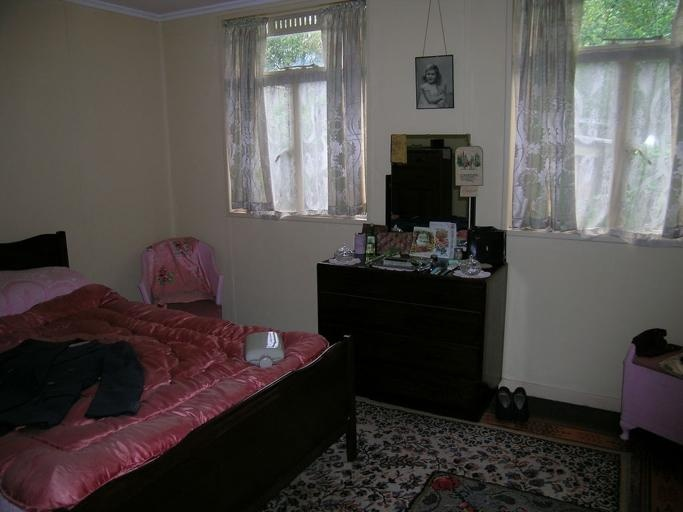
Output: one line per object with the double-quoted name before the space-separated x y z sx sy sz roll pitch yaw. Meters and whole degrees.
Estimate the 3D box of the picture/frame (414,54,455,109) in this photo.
"picture/frame" 0.760 -1.419 4.097 0.399 0.505 0.034 4 11 25

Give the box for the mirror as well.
"mirror" 0.692 -0.639 4.265 0.389 0.699 0.245 -2 21 -7

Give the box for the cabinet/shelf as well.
"cabinet/shelf" 0.561 0.572 4.193 1.323 1.049 0.814 4 14 18

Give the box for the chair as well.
"chair" -1.541 0.371 5.050 0.648 0.863 0.636 -11 32 -39

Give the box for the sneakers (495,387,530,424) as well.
"sneakers" 1.293 1.104 3.891 0.188 0.094 0.276 1 25 15

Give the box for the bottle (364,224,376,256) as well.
"bottle" 0.241 -0.142 4.309 0.095 0.247 0.214 0 12 2
